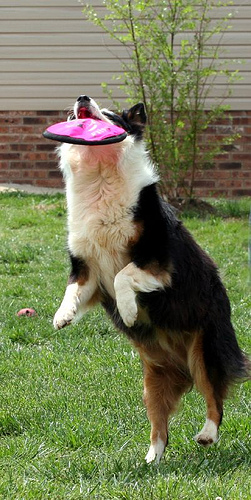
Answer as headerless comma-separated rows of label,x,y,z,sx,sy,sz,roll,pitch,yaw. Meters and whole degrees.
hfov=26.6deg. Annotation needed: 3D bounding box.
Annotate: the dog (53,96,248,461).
dog,0.143,0.106,2.797,1.002,1.925,0.685,2,-5,-9
